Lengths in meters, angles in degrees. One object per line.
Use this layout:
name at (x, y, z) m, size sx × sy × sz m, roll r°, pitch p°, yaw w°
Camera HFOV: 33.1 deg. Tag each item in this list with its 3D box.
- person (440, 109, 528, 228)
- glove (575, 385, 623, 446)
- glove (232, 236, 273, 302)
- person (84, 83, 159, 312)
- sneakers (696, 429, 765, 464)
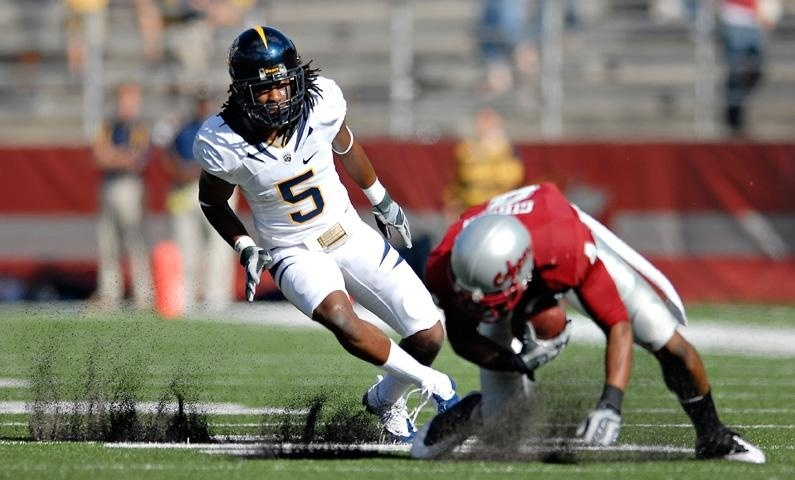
person at (1.040, -0.869, 15.952) m, size 0.781 × 1.300 × 0.560 m, roll 3°, pitch 2°, yaw 5°
glove at (1.719, 1.489, 11.152) m, size 0.369 × 0.495 × 0.197 m, roll 19°, pitch -2°, yaw 6°
glove at (-1.271, 0.237, 11.845) m, size 0.262 × 0.640 × 0.304 m, roll 1°, pitch 1°, yaw -23°
person at (-3.181, -0.557, 15.384) m, size 0.657 × 2.264 × 1.022 m, roll 0°, pitch 6°, yaw -12°
sneakers at (2.870, 1.769, 11.501) m, size 0.554 × 0.238 × 0.271 m, roll -3°, pitch 0°, yaw 5°
